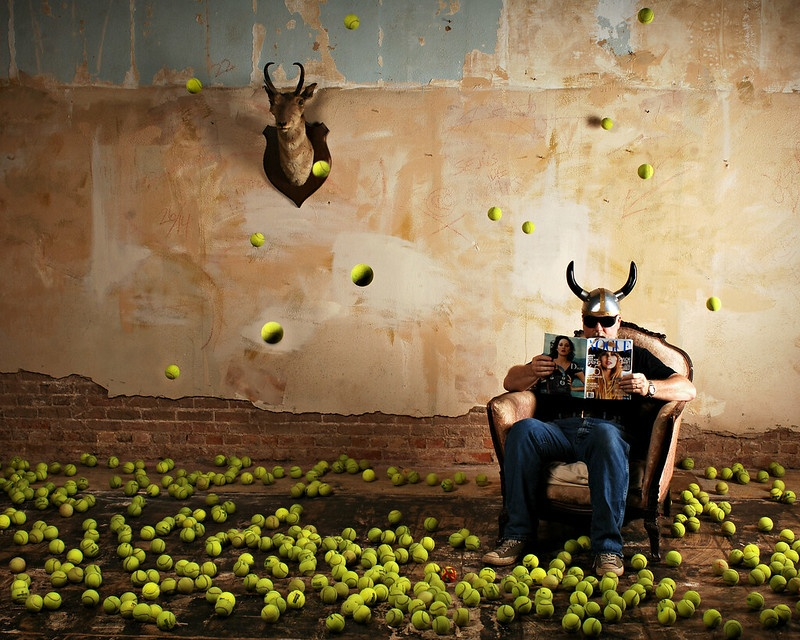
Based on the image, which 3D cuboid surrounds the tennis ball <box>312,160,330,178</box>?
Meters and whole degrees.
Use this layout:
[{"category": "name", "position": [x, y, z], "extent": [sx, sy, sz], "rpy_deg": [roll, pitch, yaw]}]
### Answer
[{"category": "tennis ball", "position": [-0.576, -1.094, 6.957], "extent": [0.112, 0.117, 0.113], "rpy_deg": [46, 5, -5]}]

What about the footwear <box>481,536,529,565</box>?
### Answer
[{"category": "footwear", "position": [0.619, 1.340, 5.560], "extent": [0.302, 0.138, 0.108], "rpy_deg": [-1, -2, -33]}]

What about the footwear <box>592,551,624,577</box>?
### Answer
[{"category": "footwear", "position": [1.177, 1.393, 5.365], "extent": [0.167, 0.134, 0.149], "rpy_deg": [2, 13, 12]}]

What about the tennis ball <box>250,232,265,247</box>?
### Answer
[{"category": "tennis ball", "position": [-1.050, -0.590, 6.980], "extent": [0.088, 0.099, 0.093], "rpy_deg": [1, 2, 0]}]

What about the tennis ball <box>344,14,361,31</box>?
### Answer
[{"category": "tennis ball", "position": [-0.348, -2.133, 6.816], "extent": [0.108, 0.108, 0.103], "rpy_deg": [-1, 13, 0]}]

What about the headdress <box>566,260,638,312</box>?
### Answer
[{"category": "headdress", "position": [1.244, -0.194, 5.886], "extent": [0.416, 0.367, 0.243], "rpy_deg": [1, -8, 5]}]

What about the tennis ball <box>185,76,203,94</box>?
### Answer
[{"category": "tennis ball", "position": [-1.488, -1.692, 6.877], "extent": [0.114, 0.111, 0.238], "rpy_deg": [-3, 14, -13]}]

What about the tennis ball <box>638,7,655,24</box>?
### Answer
[{"category": "tennis ball", "position": [1.713, -2.123, 6.643], "extent": [0.095, 0.106, 0.100], "rpy_deg": [0, 9, 0]}]

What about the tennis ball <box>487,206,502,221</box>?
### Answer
[{"category": "tennis ball", "position": [0.679, -0.768, 6.840], "extent": [0.083, 0.093, 0.088], "rpy_deg": [4, 5, 0]}]

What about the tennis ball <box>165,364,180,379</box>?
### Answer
[{"category": "tennis ball", "position": [-1.710, 0.395, 7.072], "extent": [0.122, 0.114, 0.067], "rpy_deg": [1, 13, 8]}]

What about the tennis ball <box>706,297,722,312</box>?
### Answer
[{"category": "tennis ball", "position": [2.225, -0.115, 6.755], "extent": [0.089, 0.114, 0.091], "rpy_deg": [14, 6, -1]}]

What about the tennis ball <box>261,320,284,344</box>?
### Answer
[{"category": "tennis ball", "position": [-0.953, 0.090, 7.089], "extent": [0.145, 0.162, 0.154], "rpy_deg": [1, 2, 0]}]

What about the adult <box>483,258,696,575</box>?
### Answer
[{"category": "adult", "position": [1.100, 0.552, 5.899], "extent": [1.154, 2.074, 1.020], "rpy_deg": [19, -18, -38]}]

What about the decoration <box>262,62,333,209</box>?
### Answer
[{"category": "decoration", "position": [-0.731, -1.271, 6.726], "extent": [0.495, 0.990, 0.585], "rpy_deg": [-2, 13, -8]}]

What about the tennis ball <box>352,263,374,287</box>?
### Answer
[{"category": "tennis ball", "position": [-0.271, -0.309, 6.988], "extent": [0.142, 0.182, 0.149], "rpy_deg": [2, -14, 1]}]

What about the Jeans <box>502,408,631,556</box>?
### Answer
[{"category": "Jeans", "position": [1.034, 1.014, 5.781], "extent": [0.736, 0.792, 0.719], "rpy_deg": [-2, -16, 22]}]
